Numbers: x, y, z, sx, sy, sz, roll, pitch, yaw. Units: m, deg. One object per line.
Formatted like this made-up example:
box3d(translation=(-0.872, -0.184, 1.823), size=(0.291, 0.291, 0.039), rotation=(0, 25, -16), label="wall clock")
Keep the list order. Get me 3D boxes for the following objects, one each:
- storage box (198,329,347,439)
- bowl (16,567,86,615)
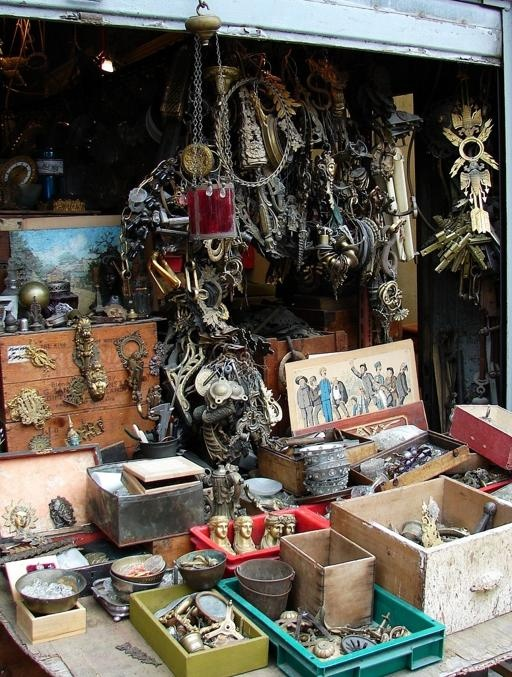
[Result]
box3d(translation=(0.259, 0.162, 4.604), size=(1.135, 0.795, 0.656), rotation=(-6, 7, -29), label="storage box")
box3d(translation=(-0.711, 0.879, 1.980), size=(0.216, 0.072, 0.220), rotation=(6, 3, 0), label="bowl")
